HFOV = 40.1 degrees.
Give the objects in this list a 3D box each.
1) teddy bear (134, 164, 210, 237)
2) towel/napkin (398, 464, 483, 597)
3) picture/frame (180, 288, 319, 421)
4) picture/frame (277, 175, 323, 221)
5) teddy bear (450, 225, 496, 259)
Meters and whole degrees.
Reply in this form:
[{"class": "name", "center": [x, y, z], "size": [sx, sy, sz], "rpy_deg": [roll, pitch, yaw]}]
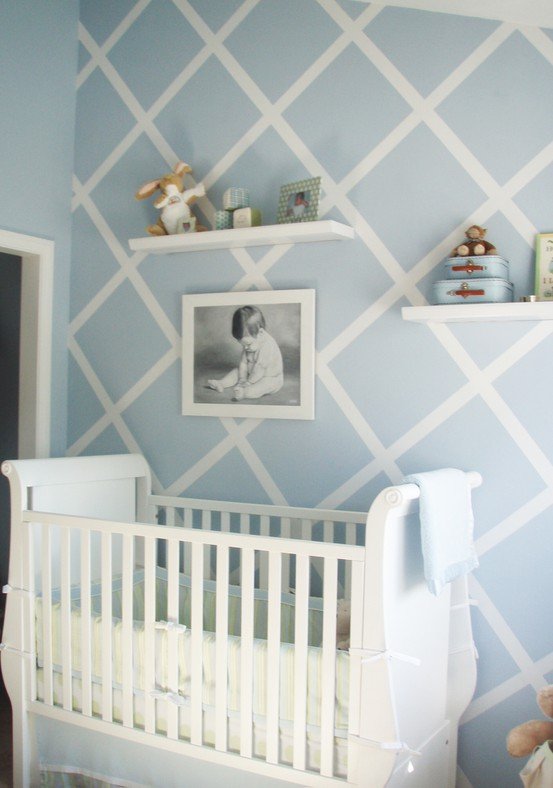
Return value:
[{"class": "teddy bear", "center": [-0.345, -0.637, 2.533], "size": [0.245, 0.253, 0.167], "rpy_deg": [-4, -4, 20]}, {"class": "towel/napkin", "center": [0.373, 0.294, 1.670], "size": [0.077, 0.256, 0.239], "rpy_deg": [-6, -1, 42]}, {"class": "picture/frame", "center": [-0.070, -0.130, 2.423], "size": [0.443, 0.361, 0.016], "rpy_deg": [2, 2, 28]}, {"class": "picture/frame", "center": [0.073, -0.583, 2.261], "size": [0.187, 0.161, 0.025], "rpy_deg": [-1, -3, 42]}, {"class": "teddy bear", "center": [0.510, -0.397, 1.975], "size": [0.110, 0.091, 0.068], "rpy_deg": [-3, -3, 5]}]
